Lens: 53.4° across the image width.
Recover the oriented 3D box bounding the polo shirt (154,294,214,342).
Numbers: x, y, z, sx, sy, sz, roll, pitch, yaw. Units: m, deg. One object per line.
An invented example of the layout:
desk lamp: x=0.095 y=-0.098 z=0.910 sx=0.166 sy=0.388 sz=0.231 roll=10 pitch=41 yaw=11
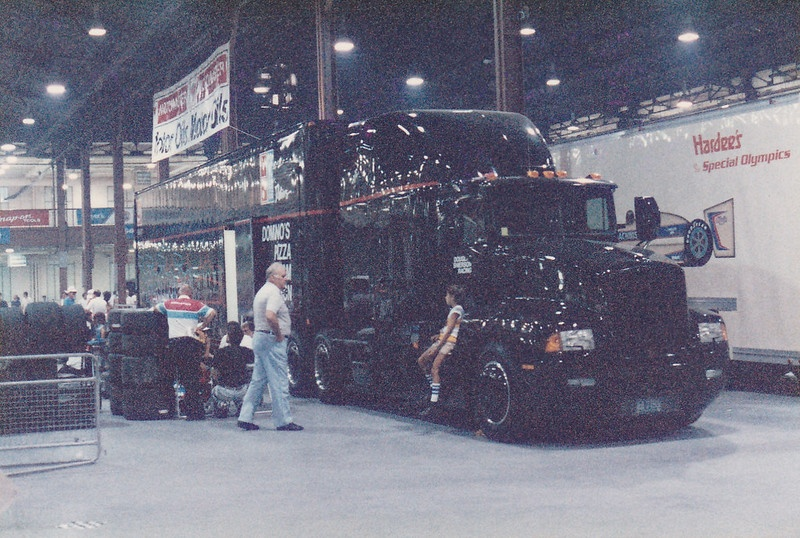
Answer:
polo shirt: x=-3.967 y=0.940 z=14.611 sx=1.100 sy=0.900 sz=0.397 roll=0 pitch=0 yaw=11

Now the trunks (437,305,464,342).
trunks: x=0.782 y=0.853 z=12.285 sx=0.297 sy=0.575 sz=0.453 roll=19 pitch=10 yaw=14

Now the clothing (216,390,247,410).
clothing: x=-2.962 y=2.266 z=13.856 sx=0.380 sy=0.202 sz=0.498 roll=2 pitch=-8 yaw=-16

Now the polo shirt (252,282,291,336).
polo shirt: x=-2.125 y=0.521 z=13.094 sx=0.667 sy=1.045 sz=1.161 roll=-3 pitch=3 yaw=-18

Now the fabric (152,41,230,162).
fabric: x=-6.231 y=-5.136 z=23.319 sx=0.078 sy=2.401 sz=5.052 roll=4 pitch=-12 yaw=-34

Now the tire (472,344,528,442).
tire: x=1.463 y=1.792 z=11.523 sx=0.482 sy=1.432 sz=1.373 roll=-7 pitch=4 yaw=-30

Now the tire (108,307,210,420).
tire: x=-4.378 y=1.741 z=15.173 sx=1.821 sy=2.177 sz=1.950 roll=-5 pitch=-6 yaw=36

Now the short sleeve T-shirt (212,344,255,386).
short sleeve T-shirt: x=-2.888 y=1.681 z=13.730 sx=0.795 sy=0.808 sz=0.433 roll=0 pitch=3 yaw=-17

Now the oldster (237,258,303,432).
oldster: x=-2.096 y=1.282 z=12.944 sx=1.076 sy=2.720 sz=1.111 roll=0 pitch=-4 yaw=10

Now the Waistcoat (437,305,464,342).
Waistcoat: x=0.782 y=0.853 z=12.285 sx=0.297 sy=0.575 sz=0.453 roll=19 pitch=10 yaw=14

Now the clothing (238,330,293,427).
clothing: x=-2.182 y=1.778 z=12.935 sx=0.882 sy=1.663 sz=0.649 roll=2 pitch=0 yaw=14
